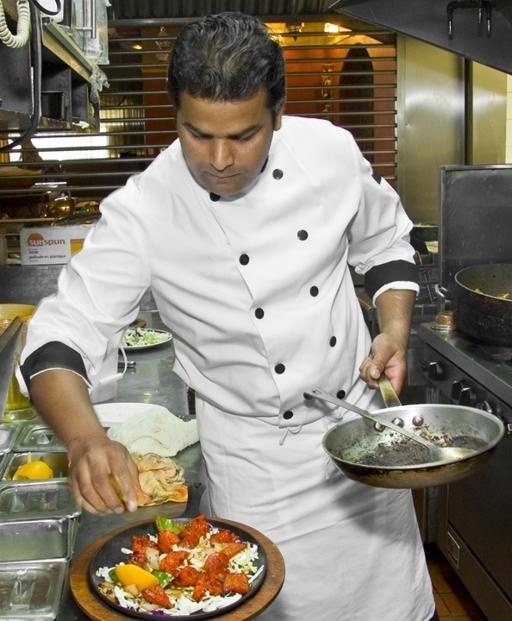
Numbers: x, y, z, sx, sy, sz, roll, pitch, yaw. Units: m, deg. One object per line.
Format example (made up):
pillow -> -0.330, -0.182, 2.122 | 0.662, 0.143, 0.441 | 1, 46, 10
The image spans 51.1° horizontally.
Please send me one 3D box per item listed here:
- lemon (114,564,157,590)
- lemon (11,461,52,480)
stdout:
lemon -> -0.161, 0.356, 0.717 | 0.052, 0.026, 0.016 | 8, -22, 26
lemon -> -0.538, 0.364, 1.261 | 0.068, 0.040, 0.073 | -2, -13, -10
